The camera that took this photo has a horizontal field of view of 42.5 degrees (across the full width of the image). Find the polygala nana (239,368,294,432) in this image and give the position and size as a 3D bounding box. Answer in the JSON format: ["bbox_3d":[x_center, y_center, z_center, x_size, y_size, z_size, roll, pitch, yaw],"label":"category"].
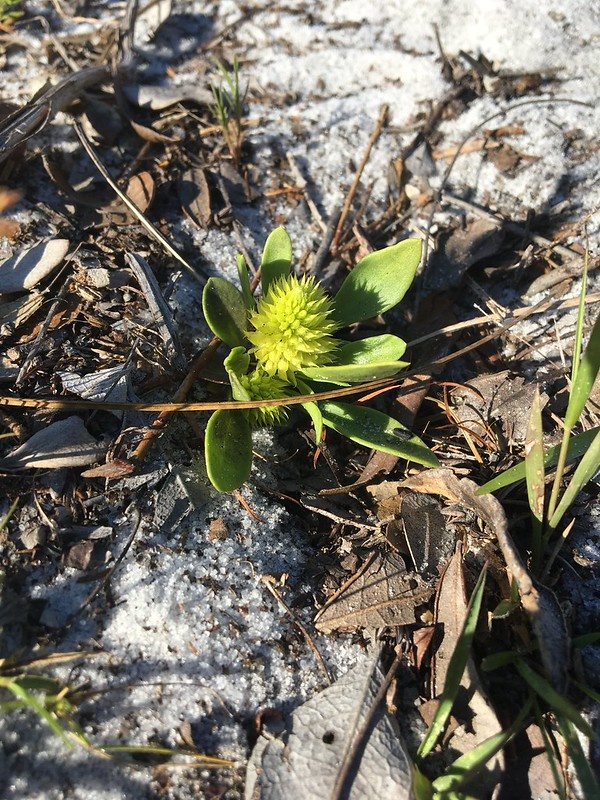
[{"bbox_3d":[-0.119,-0.012,2.263,0.166,0.159,0.093,-38,33,-15],"label":"polygala nana"}]
